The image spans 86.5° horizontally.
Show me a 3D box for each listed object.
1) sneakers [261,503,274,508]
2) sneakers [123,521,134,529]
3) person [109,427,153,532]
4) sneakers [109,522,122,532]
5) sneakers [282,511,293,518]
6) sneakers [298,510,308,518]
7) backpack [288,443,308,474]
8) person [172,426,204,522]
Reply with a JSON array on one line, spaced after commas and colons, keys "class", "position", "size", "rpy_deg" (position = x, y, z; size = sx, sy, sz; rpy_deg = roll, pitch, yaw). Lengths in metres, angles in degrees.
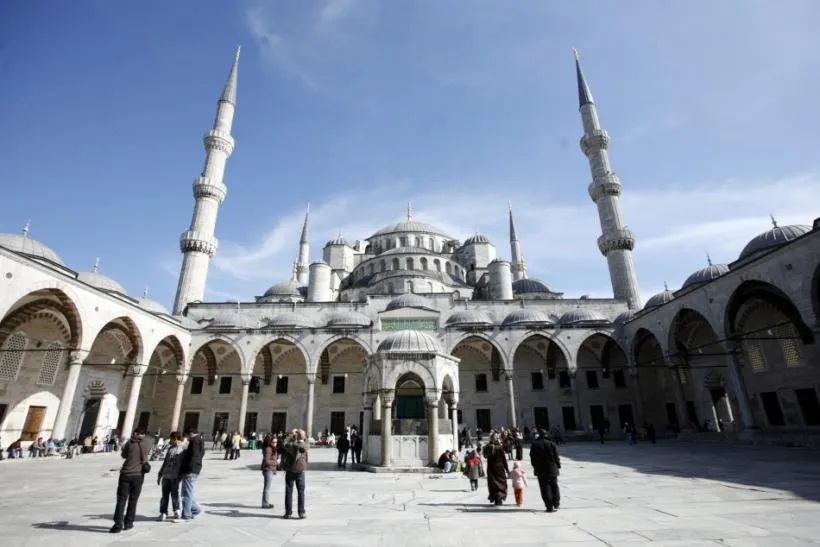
[{"class": "sneakers", "position": [-2.968, 4.901, 9.230], "size": [0.290, 0.110, 0.097], "rpy_deg": [1, -10, -10]}, {"class": "sneakers", "position": [-5.125, 4.631, 8.030], "size": [0.114, 0.125, 0.222], "rpy_deg": [-4, -21, 4]}, {"class": "person", "position": [-5.182, 3.827, 8.155], "size": [0.468, 1.761, 1.013], "rpy_deg": [10, -25, -29]}, {"class": "sneakers", "position": [-5.266, 4.591, 7.858], "size": [0.190, 0.140, 0.127], "rpy_deg": [8, -23, -24]}, {"class": "sneakers", "position": [-2.385, 4.742, 8.549], "size": [0.094, 0.093, 0.235], "rpy_deg": [3, -17, -7]}, {"class": "sneakers", "position": [-2.089, 4.762, 8.605], "size": [0.146, 0.160, 0.180], "rpy_deg": [1, -33, -5]}, {"class": "backpack", "position": [-2.184, 3.640, 8.582], "size": [0.321, 0.525, 0.269], "rpy_deg": [9, -25, -26]}, {"class": "person", "position": [-4.248, 3.891, 8.487], "size": [0.412, 1.650, 0.749], "rpy_deg": [6, -24, -21]}]
